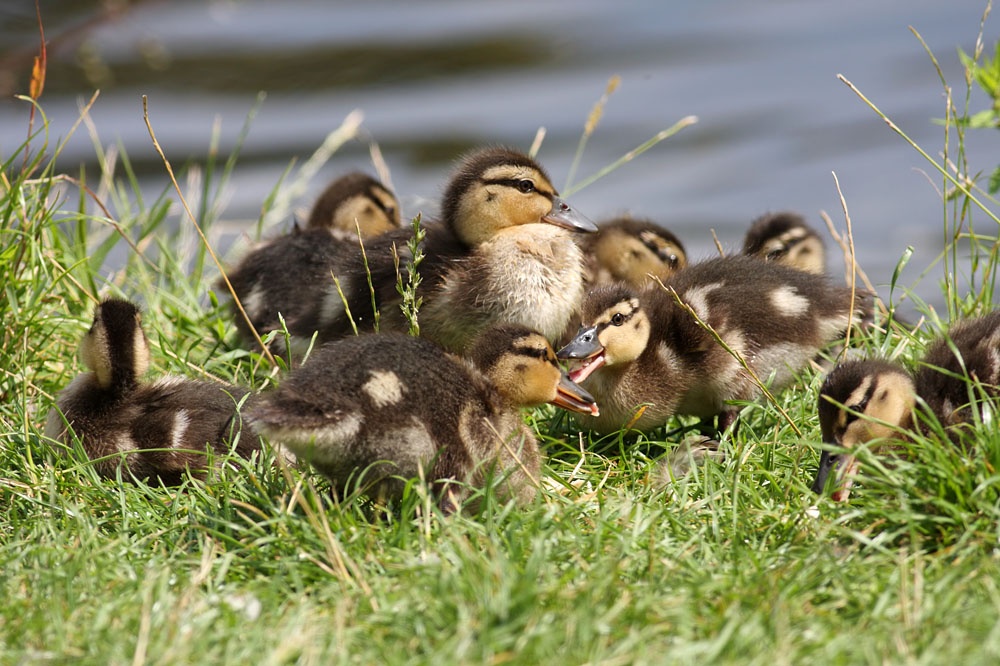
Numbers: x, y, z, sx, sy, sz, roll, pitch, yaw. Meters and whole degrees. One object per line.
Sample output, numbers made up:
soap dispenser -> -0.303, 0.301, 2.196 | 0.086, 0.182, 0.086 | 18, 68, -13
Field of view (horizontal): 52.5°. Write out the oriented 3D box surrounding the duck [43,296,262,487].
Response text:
duck -> -1.659, 0.280, 4.812 | 1.012, 0.849, 0.522 | 2, 7, 4
